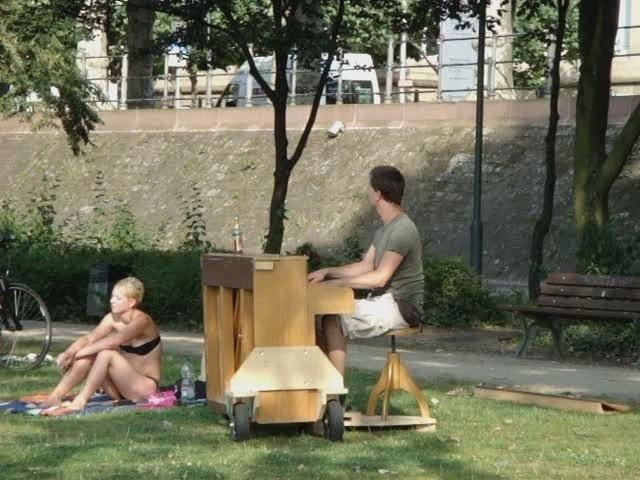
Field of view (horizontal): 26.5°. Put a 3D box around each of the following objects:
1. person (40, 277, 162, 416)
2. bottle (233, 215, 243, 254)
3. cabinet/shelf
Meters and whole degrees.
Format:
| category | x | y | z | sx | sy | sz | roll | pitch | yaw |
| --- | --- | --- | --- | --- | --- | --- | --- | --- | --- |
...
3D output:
| category | x | y | z | sx | sy | sz | roll | pitch | yaw |
| --- | --- | --- | --- | --- | --- | --- | --- | --- | --- |
| person | -2.944 | 1.448 | 18.914 | 1.465 | 1.735 | 0.877 | 1 | 12 | -11 |
| bottle | -1.111 | -0.082 | 18.494 | 0.093 | 0.463 | 0.333 | 1 | 12 | -7 |
| cabinet/shelf | -0.705 | 1.840 | 18.019 | 1.691 | 3.025 | 3.065 | -2 | 1 | -14 |
